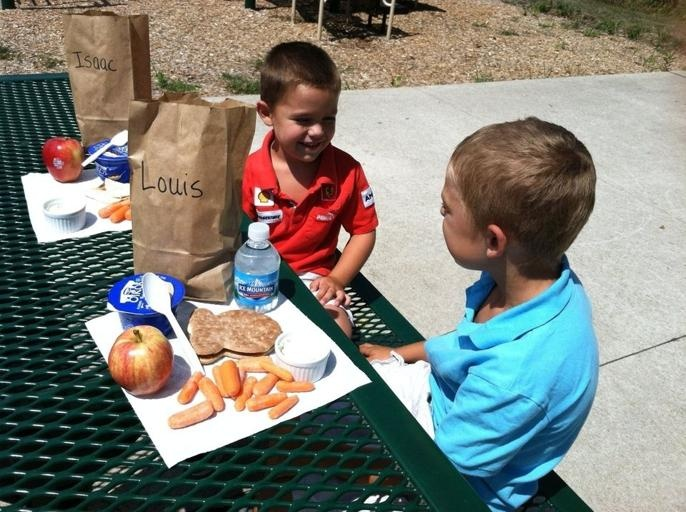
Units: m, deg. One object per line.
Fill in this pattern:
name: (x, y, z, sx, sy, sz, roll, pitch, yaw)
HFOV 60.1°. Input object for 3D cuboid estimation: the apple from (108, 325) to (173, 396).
apple: (-0.481, 0.250, 1.422, 0.174, 0.158, 0.151, -2, 34, -13)

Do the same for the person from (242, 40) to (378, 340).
person: (-0.126, -0.219, 2.287, 0.522, 1.120, 0.471, -10, 36, -20)

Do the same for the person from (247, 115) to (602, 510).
person: (0.297, 0.233, 1.645, 0.543, 1.189, 0.559, -4, 25, -12)

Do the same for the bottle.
bottle: (-0.247, 0.038, 1.641, 0.106, 0.274, 0.119, 21, 27, 34)

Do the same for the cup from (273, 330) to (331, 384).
cup: (-0.094, 0.235, 1.460, 0.138, 0.073, 0.121, 6, 32, -13)

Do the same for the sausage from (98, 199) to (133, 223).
sausage: (-0.723, -0.143, 1.885, 0.074, 0.030, 0.123, 29, 38, 22)

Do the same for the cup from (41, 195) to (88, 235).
cup: (-0.848, -0.136, 1.830, 0.136, 0.072, 0.119, 4, 35, -2)

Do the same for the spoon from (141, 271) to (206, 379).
spoon: (-0.402, 0.176, 1.477, 0.162, 0.255, 0.156, 3, 22, -2)

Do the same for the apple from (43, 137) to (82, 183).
apple: (-0.961, -0.331, 2.042, 0.139, 0.138, 0.146, 21, 25, 36)
